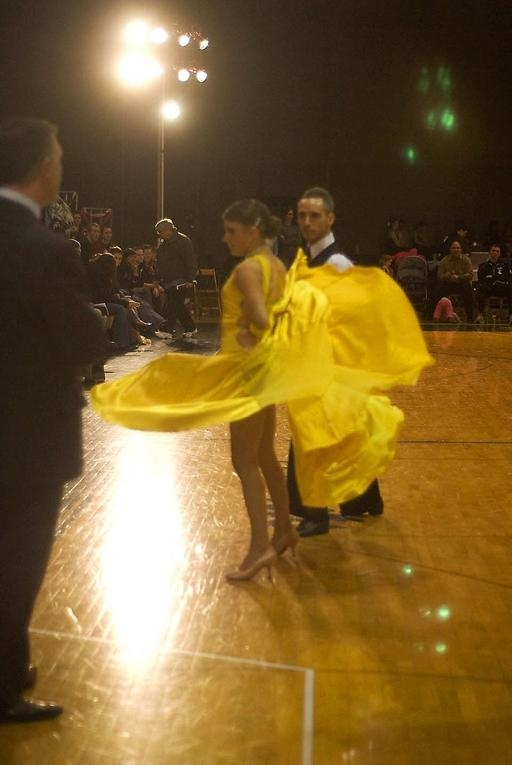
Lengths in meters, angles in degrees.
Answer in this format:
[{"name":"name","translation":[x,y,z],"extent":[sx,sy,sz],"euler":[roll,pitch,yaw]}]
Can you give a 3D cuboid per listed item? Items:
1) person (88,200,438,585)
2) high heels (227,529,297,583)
[{"name":"person","translation":[0.089,0.024,2.600],"extent":[1.419,1.491,0.614],"euler":[-1,4,-44]},{"name":"high heels","translation":[0.039,0.680,2.473],"extent":[0.170,0.204,0.397],"euler":[4,3,28]}]
